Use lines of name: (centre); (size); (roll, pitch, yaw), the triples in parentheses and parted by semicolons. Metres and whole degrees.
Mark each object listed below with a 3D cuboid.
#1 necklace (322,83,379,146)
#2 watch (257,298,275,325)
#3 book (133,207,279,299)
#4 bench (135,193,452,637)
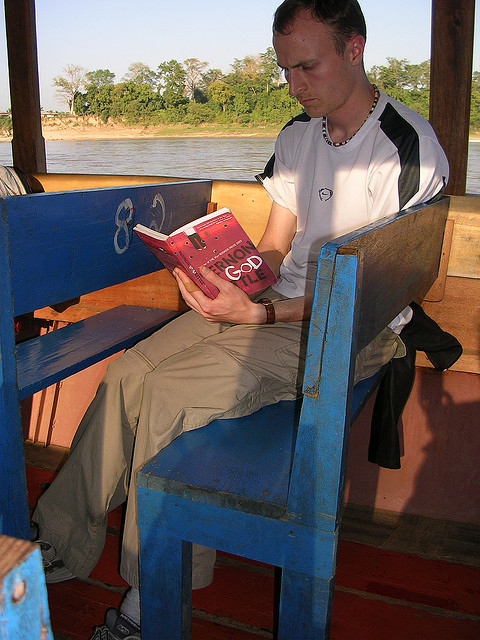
necklace: (0.312, -0.607, 1.539); (0.173, 0.214, 0.011); (-12, 38, -45)
watch: (0.074, -0.030, 1.428); (0.048, 0.068, 0.073); (-6, 44, -13)
book: (-0.071, -0.188, 1.483); (0.305, 0.064, 0.340); (35, 51, 12)
bench: (0.099, 0.206, 1.132); (0.430, 0.860, 0.585); (6, 16, 24)
